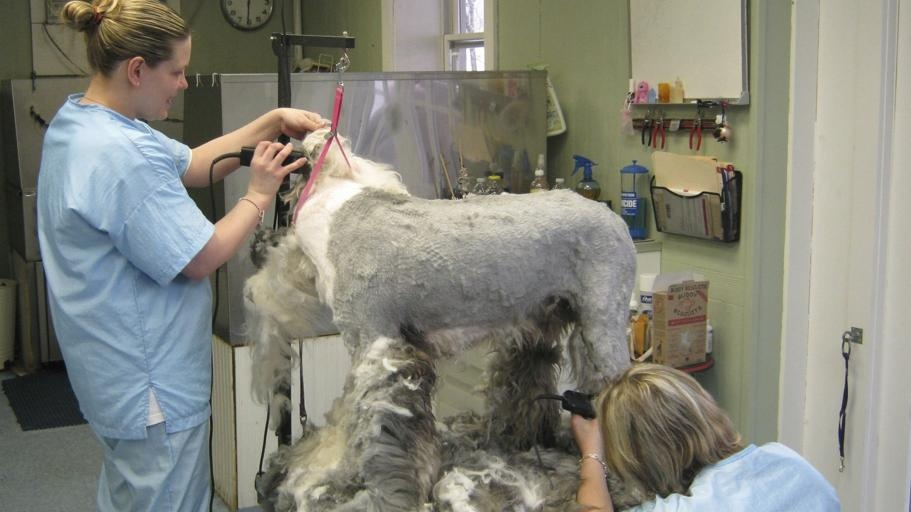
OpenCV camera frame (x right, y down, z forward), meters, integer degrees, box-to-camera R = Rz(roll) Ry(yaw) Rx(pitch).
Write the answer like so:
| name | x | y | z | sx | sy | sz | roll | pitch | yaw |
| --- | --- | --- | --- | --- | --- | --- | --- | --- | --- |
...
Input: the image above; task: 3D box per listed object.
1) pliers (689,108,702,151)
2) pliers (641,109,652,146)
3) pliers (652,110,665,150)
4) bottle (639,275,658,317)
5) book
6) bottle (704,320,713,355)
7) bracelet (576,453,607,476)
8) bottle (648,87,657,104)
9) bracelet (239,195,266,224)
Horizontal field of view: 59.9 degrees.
| name | x | y | z | sx | sy | sz | roll | pitch | yaw |
| --- | --- | --- | --- | --- | --- | --- | --- | --- | --- |
| pliers | 1.236 | -0.647 | 4.063 | 0.076 | 0.210 | 0.059 | 6 | 12 | 29 |
| pliers | 1.040 | -0.690 | 4.284 | 0.049 | 0.178 | 0.064 | 2 | 11 | 7 |
| pliers | 1.092 | -0.670 | 4.230 | 0.071 | 0.197 | 0.035 | 7 | 13 | 32 |
| bottle | 0.996 | 0.197 | 4.068 | 0.080 | 0.229 | 0.191 | 2 | 11 | 9 |
| book | 1.235 | -0.310 | 4.031 | 0.173 | 0.390 | 0.414 | -13 | 17 | -37 |
| bottle | 1.318 | 0.423 | 4.084 | 0.037 | 0.182 | 0.140 | 5 | 12 | 21 |
| bracelet | 0.501 | 0.737 | 2.812 | 0.076 | 0.094 | 0.037 | 9 | -21 | -24 |
| bottle | 1.055 | -0.853 | 4.218 | 0.062 | 0.095 | 0.069 | 0 | 0 | 4 |
| bracelet | -0.770 | -0.177 | 2.993 | 0.089 | 0.088 | 0.035 | 40 | 67 | 13 |
